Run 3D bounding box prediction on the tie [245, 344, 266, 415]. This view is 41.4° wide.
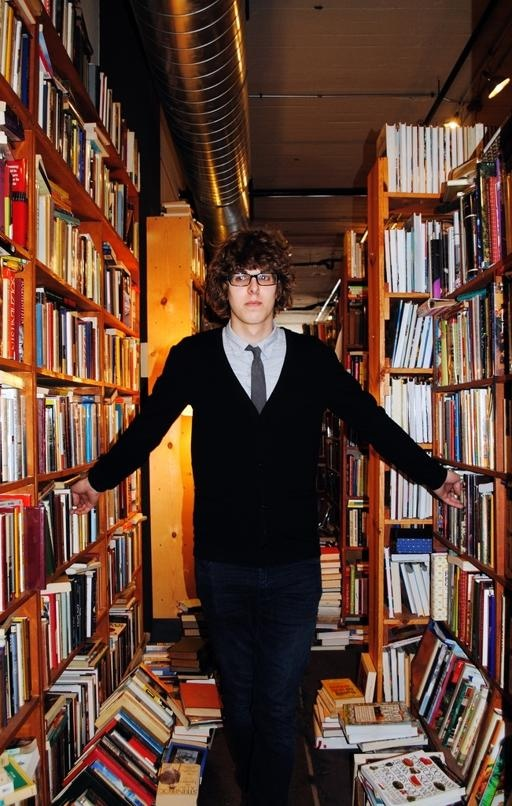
[{"bbox_3d":[-0.002,-0.052,1.801,0.050,0.018,0.173,-1,68,-1],"label":"tie"}]
